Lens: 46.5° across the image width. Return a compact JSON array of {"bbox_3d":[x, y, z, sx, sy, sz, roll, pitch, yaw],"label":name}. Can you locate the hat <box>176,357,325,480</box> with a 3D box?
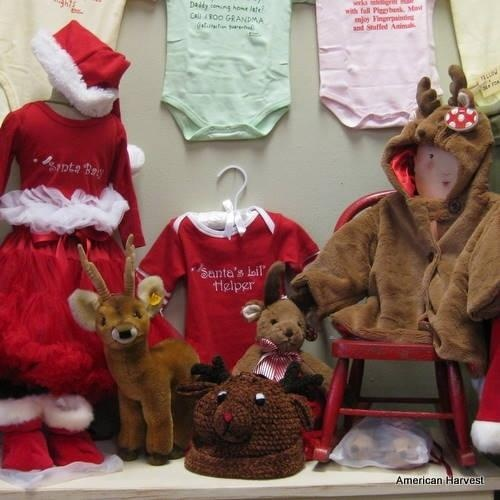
[{"bbox_3d":[0.004,0.459,1.503,0.415,0.266,0.269,0,-15,5],"label":"hat"}]

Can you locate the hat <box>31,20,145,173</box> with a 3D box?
[{"bbox_3d":[-0.526,-0.568,1.822,0.275,0.301,0.165,-9,17,-29],"label":"hat"}]

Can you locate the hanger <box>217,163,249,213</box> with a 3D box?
[{"bbox_3d":[-0.058,-0.211,2.112,0.117,0.179,0.017,-8,1,22],"label":"hanger"}]

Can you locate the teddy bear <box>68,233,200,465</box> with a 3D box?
[{"bbox_3d":[-0.278,0.282,1.701,0.327,0.653,0.311,8,18,32],"label":"teddy bear"}]

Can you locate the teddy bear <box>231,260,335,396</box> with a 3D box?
[{"bbox_3d":[0.090,0.238,1.782,0.357,0.456,0.218,8,-23,-17],"label":"teddy bear"}]

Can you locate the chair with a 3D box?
[{"bbox_3d":[0.446,0.263,1.747,0.426,0.788,0.643,2,15,12],"label":"chair"}]

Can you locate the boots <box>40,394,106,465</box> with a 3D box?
[{"bbox_3d":[-0.506,0.500,1.642,0.103,0.098,0.270,3,4,-32],"label":"boots"}]
